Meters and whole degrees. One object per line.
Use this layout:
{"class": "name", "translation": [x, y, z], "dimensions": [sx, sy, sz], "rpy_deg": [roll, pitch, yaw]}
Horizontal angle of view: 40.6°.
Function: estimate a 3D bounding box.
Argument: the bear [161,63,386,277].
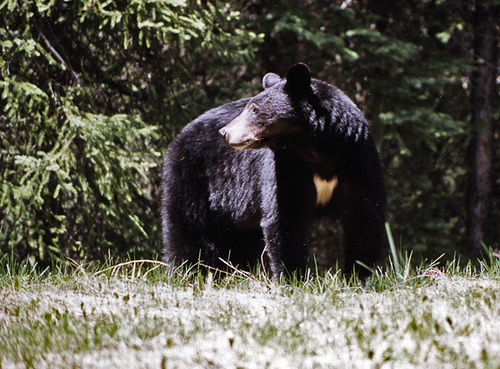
{"class": "bear", "translation": [0.184, -0.106, 7.126], "dimensions": [1.240, 2.115, 2.312], "rpy_deg": [3, -2, -43]}
